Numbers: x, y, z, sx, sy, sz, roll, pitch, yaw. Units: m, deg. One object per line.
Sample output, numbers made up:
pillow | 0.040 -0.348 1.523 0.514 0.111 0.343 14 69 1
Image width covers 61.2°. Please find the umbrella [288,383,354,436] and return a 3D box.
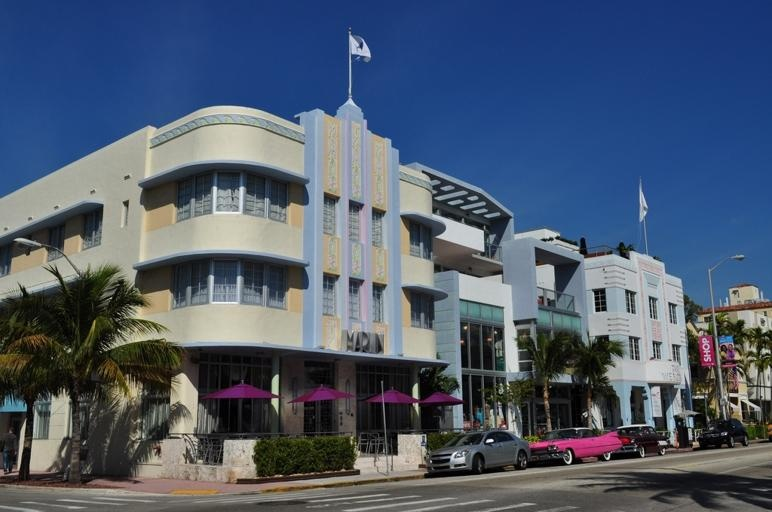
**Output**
umbrella | -3.460 8.252 33.966 3.225 3.137 2.656 4 0 -6

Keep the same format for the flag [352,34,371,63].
flag | -1.639 -12.781 40.334 1.068 1.734 0.842 3 -19 -14

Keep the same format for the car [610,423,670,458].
car | 15.516 11.180 39.540 1.807 1.490 4.115 -5 -10 40

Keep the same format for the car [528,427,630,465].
car | 10.866 10.784 36.854 5.436 1.669 2.414 14 -29 -33
